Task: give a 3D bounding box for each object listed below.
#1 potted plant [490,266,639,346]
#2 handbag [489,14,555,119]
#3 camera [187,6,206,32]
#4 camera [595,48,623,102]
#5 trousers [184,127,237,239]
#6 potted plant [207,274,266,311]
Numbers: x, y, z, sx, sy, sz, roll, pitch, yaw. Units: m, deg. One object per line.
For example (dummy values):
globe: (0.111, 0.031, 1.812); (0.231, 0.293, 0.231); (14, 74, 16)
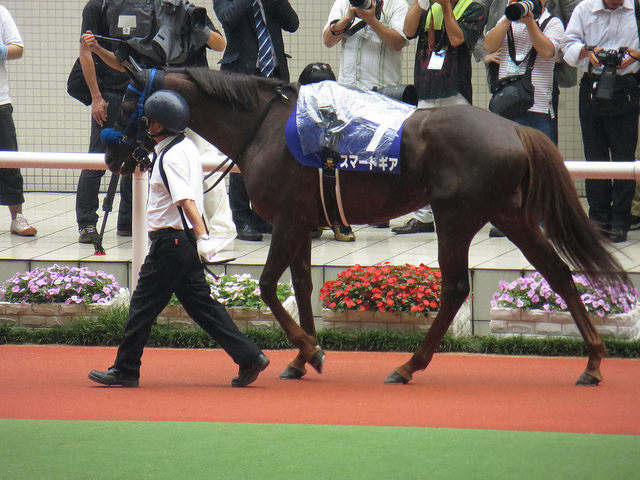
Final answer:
potted plant: (1.757, 0.548, 8.087); (0.787, 0.320, 0.755); (4, 4, 41)
handbag: (1.813, -1.656, 9.662); (0.507, 1.073, 0.508); (-7, 12, -23)
camera: (-1.105, -1.964, 9.481); (0.165, 0.225, 0.200); (-2, 11, -7)
camera: (2.536, -1.439, 9.346); (0.271, 0.408, 0.195); (10, -7, 19)
trousers: (-1.011, -0.501, 10.023); (0.532, 0.983, 0.513); (25, 31, 39)
potted plant: (-0.687, 0.416, 8.718); (0.403, 0.156, 0.390); (7, 21, -16)
